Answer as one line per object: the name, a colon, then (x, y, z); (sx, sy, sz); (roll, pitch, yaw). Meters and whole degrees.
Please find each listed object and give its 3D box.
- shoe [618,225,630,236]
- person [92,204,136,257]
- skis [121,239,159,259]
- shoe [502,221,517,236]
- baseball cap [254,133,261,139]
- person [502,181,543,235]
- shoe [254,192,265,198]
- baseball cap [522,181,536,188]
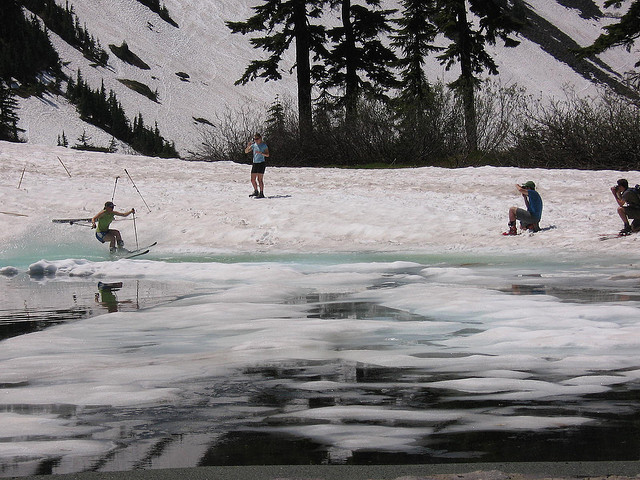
shoe: (6.095, -0.198, 20.112); (0.210, 0.193, 0.218); (5, 14, 20)
person: (-4.494, -0.180, 21.897); (0.904, 1.007, 0.984); (-5, 27, 12)
skis: (-3.842, 0.131, 21.852); (0.933, 0.199, 0.125); (-13, -22, 21)
shoe: (3.998, -0.239, 20.933); (0.490, 0.304, 0.179); (0, -6, 9)
baseball cap: (-1.510, -2.502, 23.881); (0.118, 0.109, 0.133); (26, 9, -21)
person: (4.231, -0.698, 20.999); (0.832, 1.094, 0.584); (-3, 15, -14)
shoe: (-1.504, -1.151, 25.178); (0.227, 0.133, 0.156); (-5, 14, -25)
baseball cap: (4.328, -1.177, 20.938); (0.255, 0.091, 0.160); (12, 8, 21)
